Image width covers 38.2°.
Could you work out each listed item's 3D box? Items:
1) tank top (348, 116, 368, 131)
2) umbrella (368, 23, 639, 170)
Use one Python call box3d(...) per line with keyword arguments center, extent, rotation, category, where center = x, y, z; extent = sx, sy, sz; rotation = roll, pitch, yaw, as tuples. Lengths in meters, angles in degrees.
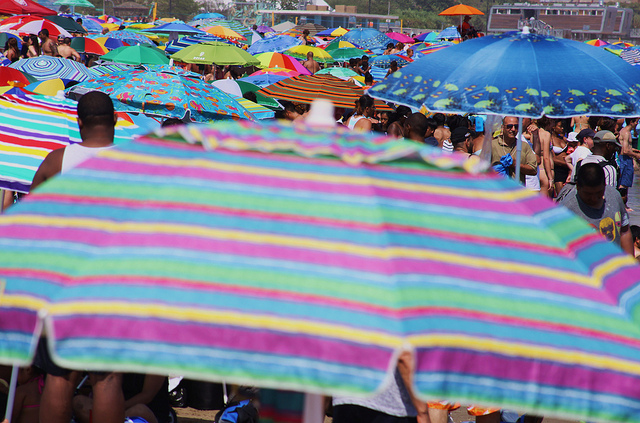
box3d(center=(0.414, -1.050, 10.878), extent=(0.186, 0.122, 0.409), rotation=(3, 13, 2), category="tank top")
box3d(center=(1.578, -0.972, 7.042), extent=(1.233, 0.734, 1.166), rotation=(-8, 22, -31), category="umbrella")
